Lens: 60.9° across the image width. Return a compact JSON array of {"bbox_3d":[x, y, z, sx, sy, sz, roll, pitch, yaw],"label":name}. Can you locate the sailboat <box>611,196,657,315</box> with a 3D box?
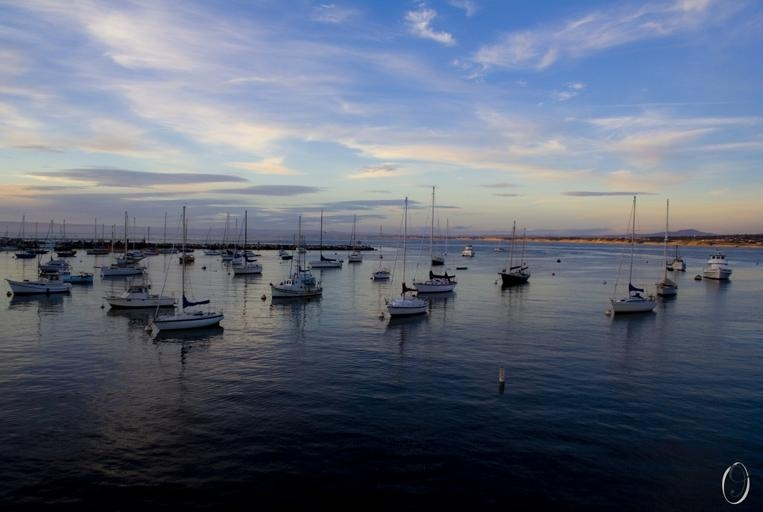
[{"bbox_3d":[30.939,0.634,80.331,4.919,13.745,13.767,1,-8,18],"label":"sailboat"}]
